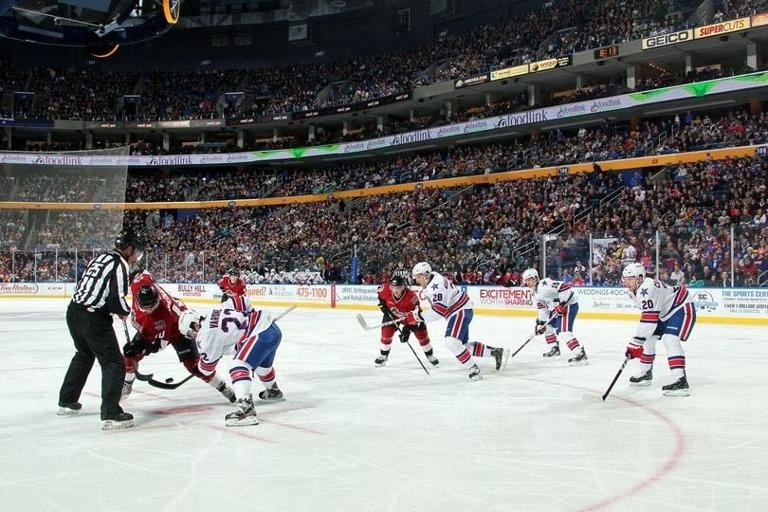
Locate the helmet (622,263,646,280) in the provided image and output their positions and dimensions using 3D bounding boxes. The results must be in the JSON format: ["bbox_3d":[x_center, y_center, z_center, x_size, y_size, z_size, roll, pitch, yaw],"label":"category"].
[{"bbox_3d":[4.821,0.315,16.697,0.357,0.330,0.289,24,-15,7],"label":"helmet"}]

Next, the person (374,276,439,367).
[{"bbox_3d":[0.431,1.396,18.465,1.294,2.149,1.138,1,17,14],"label":"person"}]

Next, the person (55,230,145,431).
[{"bbox_3d":[-5.035,1.276,15.410,1.350,3.386,0.515,1,-1,19],"label":"person"}]

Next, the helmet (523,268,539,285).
[{"bbox_3d":[3.274,0.444,19.317,0.411,0.379,0.350,4,-6,-35],"label":"helmet"}]

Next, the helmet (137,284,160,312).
[{"bbox_3d":[-4.148,0.747,15.392,0.347,0.439,0.430,-2,-19,-11],"label":"helmet"}]

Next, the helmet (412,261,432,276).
[{"bbox_3d":[0.792,0.277,17.857,0.343,0.325,0.265,7,-9,9],"label":"helmet"}]

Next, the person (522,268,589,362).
[{"bbox_3d":[3.803,1.311,19.106,1.225,1.502,1.138,1,-1,0],"label":"person"}]

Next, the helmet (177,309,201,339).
[{"bbox_3d":[-3.478,1.217,15.551,0.363,0.446,0.486,3,-3,25],"label":"helmet"}]

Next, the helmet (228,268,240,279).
[{"bbox_3d":[-3.370,0.392,19.564,0.211,0.121,0.219,0,2,-19],"label":"helmet"}]

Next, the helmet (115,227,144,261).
[{"bbox_3d":[-4.643,-0.201,15.627,0.477,0.544,0.601,-3,-16,25],"label":"helmet"}]

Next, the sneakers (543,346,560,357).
[{"bbox_3d":[3.769,2.138,19.238,0.421,0.294,0.173,2,-1,6],"label":"sneakers"}]

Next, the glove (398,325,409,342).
[{"bbox_3d":[0.451,1.592,17.756,0.112,0.322,0.237,8,-8,-27],"label":"glove"}]
